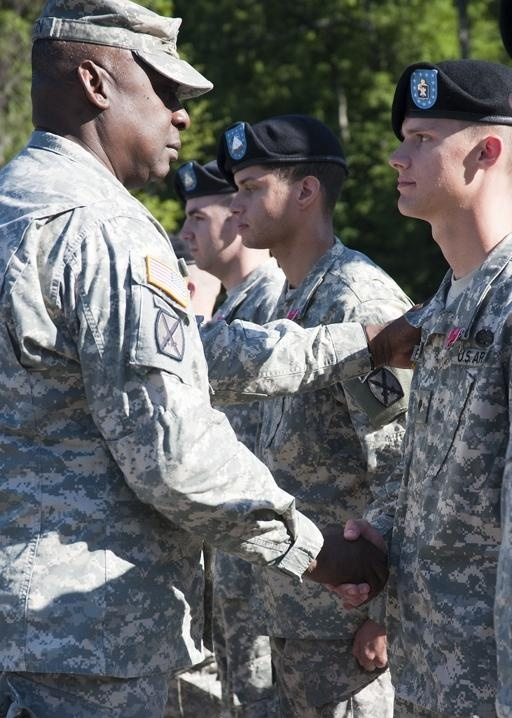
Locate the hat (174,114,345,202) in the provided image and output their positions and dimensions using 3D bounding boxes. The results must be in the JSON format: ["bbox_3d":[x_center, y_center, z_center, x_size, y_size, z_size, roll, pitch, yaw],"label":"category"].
[{"bbox_3d":[0.053,-0.874,4.631,0.771,0.266,0.507,-4,-3,-29],"label":"hat"}]
